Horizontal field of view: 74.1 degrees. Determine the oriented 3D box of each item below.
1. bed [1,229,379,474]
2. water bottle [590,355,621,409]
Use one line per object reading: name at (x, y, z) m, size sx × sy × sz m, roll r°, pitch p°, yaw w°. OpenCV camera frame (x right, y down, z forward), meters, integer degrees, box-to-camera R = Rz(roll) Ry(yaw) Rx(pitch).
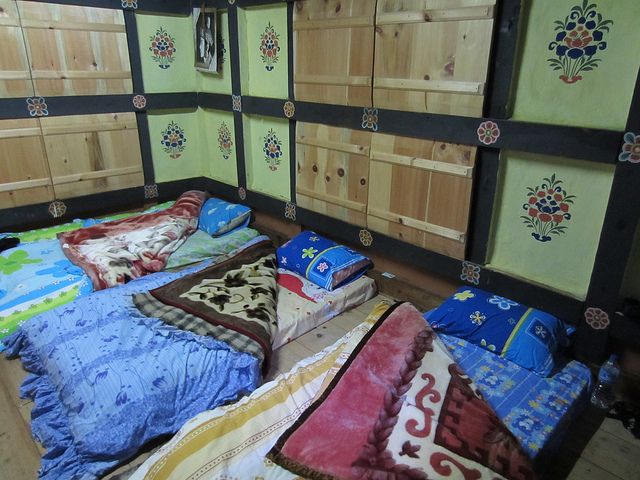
bed at (-0.705, 0.617, 2.931) m, size 2.008 × 0.420 × 1.289 m, roll -16°, pitch 30°, yaw -38°
water bottle at (1.748, 0.868, 2.589) m, size 0.103 × 0.332 × 0.121 m, roll 18°, pitch 28°, yaw 36°
